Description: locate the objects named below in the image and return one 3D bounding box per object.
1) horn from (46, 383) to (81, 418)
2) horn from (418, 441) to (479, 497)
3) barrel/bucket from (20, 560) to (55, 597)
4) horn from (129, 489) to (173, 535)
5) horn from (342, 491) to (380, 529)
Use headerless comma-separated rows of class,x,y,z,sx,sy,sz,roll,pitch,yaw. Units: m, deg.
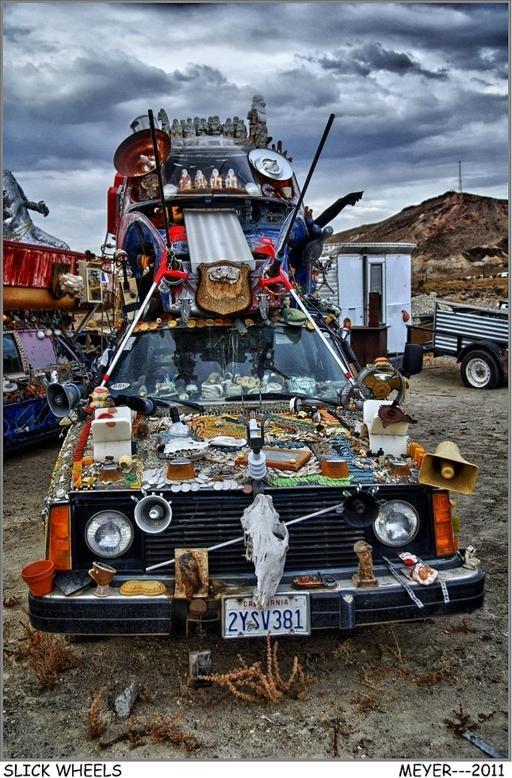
horn,-1.269,0.078,3.875,0.182,0.212,0.253,-7,4,22
horn,0.939,0.411,2.840,0.262,0.274,0.240,0,9,16
barrel/bucket,-1.019,0.895,2.675,0.126,0.148,0.155,-4,8,-11
horn,-0.487,0.599,2.792,0.185,0.188,0.202,12,1,-4
horn,0.529,0.621,2.899,0.183,0.220,0.073,0,9,13
